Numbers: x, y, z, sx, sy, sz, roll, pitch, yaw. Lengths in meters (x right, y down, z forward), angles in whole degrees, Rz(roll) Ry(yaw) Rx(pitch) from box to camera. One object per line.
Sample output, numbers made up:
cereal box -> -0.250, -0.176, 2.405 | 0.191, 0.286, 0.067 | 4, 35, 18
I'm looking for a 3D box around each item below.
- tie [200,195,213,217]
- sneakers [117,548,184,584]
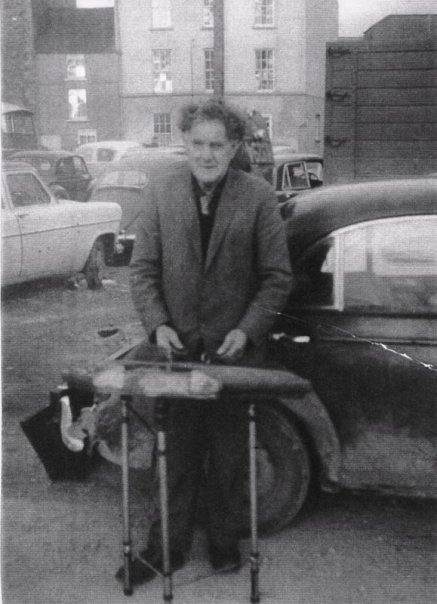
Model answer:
tie -> -0.051, -0.435, 3.761 | 0.052, 0.082, 0.033 | 1, -4, 3
sneakers -> -0.316, 1.253, 3.970 | 0.280, 0.152, 0.065 | -15, 7, 7
